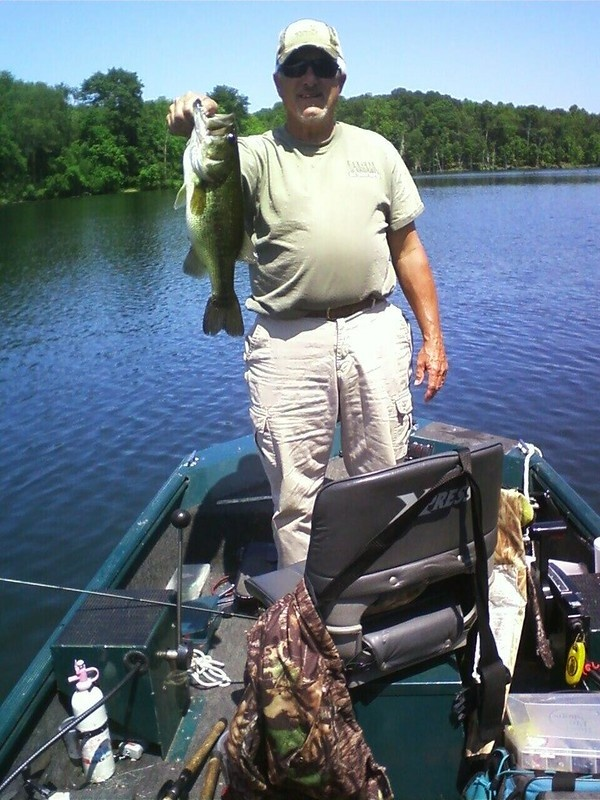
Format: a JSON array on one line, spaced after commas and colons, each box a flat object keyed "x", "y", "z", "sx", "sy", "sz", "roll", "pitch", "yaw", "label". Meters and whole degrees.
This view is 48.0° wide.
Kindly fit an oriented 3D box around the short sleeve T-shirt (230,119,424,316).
[{"x": 0.108, "y": -0.631, "z": 2.353, "sx": 0.620, "sy": 0.641, "sz": 0.350, "roll": -4, "pitch": 16, "yaw": -5, "label": "short sleeve T-shirt"}]

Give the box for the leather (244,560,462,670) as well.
[{"x": 0.153, "y": 0.524, "z": 1.620, "sx": 0.325, "sy": 0.108, "sz": 0.316, "roll": -14, "pitch": 32, "yaw": -25, "label": "leather"}]

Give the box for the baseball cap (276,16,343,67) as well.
[{"x": 0.048, "y": -1.166, "z": 2.186, "sx": 0.215, "sy": 0.146, "sz": 0.254, "roll": -7, "pitch": 17, "yaw": -15, "label": "baseball cap"}]

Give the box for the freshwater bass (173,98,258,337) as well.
[{"x": -0.278, "y": -0.591, "z": 2.347, "sx": 0.314, "sy": 0.837, "sz": 0.213, "roll": -10, "pitch": 26, "yaw": -21, "label": "freshwater bass"}]

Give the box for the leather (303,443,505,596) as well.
[{"x": 0.252, "y": 0.239, "z": 1.565, "sx": 0.550, "sy": 0.342, "sz": 0.109, "roll": -5, "pitch": 12, "yaw": -28, "label": "leather"}]
